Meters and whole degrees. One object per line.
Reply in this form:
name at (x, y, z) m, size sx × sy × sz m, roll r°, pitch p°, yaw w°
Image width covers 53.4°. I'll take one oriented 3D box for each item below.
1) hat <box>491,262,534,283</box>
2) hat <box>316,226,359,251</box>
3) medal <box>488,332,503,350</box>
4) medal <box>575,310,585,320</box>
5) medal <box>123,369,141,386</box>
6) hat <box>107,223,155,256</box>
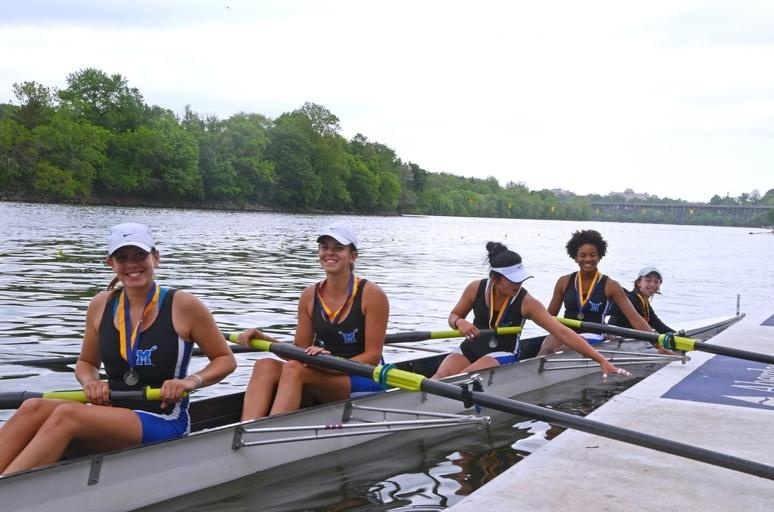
hat at (1.416, 0.201, 8.754) m, size 0.436 × 0.263 × 0.255 m, roll -4°, pitch 10°, yaw 1°
hat at (-0.486, -0.188, 7.736) m, size 0.411 × 0.268 × 0.346 m, roll -6°, pitch 10°, yaw -10°
medal at (1.282, 1.021, 9.104) m, size 0.139 × 0.147 × 0.094 m, roll 2°, pitch -4°, yaw -9°
medal at (2.678, 0.814, 10.623) m, size 0.130 × 0.107 × 0.029 m, roll 9°, pitch 5°, yaw 20°
medal at (-2.157, 1.015, 6.520) m, size 0.162 × 0.181 × 0.026 m, roll 5°, pitch 16°, yaw -1°
hat at (-2.210, -0.130, 6.577) m, size 0.390 × 0.224 × 0.496 m, roll -6°, pitch -9°, yaw -21°
